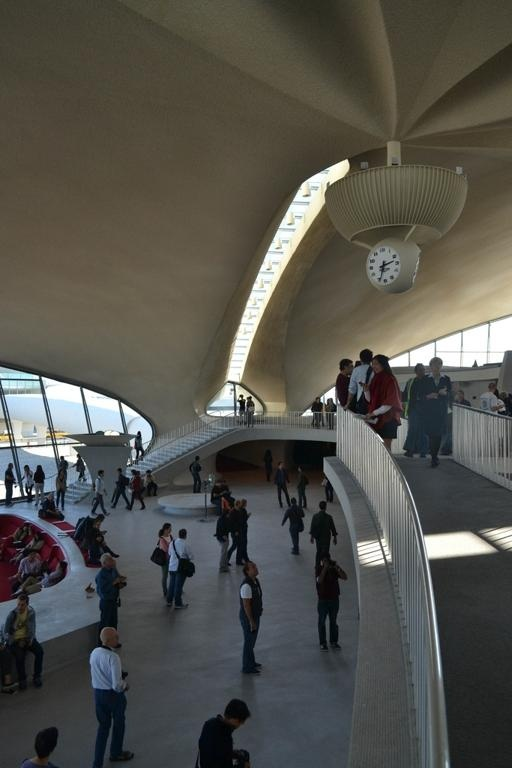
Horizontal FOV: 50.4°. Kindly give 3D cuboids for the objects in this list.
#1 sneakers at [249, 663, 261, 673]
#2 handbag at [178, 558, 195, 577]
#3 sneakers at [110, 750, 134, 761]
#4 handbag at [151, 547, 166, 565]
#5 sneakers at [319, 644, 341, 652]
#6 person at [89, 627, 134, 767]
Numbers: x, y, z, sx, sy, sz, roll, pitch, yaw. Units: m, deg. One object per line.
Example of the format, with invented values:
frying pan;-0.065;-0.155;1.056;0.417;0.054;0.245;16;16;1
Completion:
sneakers;-0.012;3.989;7.632;0.154;0.113;0.167;-6;2;1
handbag;-1.297;3.409;10.077;0.285;0.346;0.277;-6;2;-11
sneakers;-1.384;3.864;5.621;0.211;0.099;0.100;-2;5;-16
handbag;-1.917;3.406;10.721;0.287;0.350;0.280;-6;2;-14
sneakers;1.141;4.024;8.301;0.341;0.134;0.116;2;-6;-2
person;-1.497;3.157;5.429;0.409;1.430;0.608;-7;2;-19
